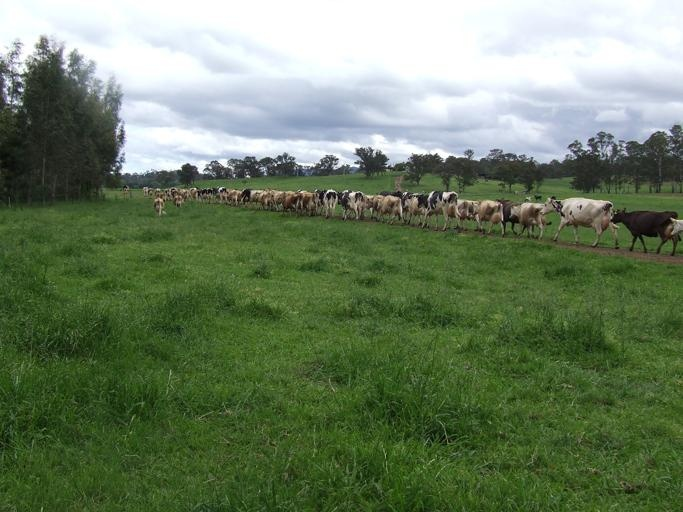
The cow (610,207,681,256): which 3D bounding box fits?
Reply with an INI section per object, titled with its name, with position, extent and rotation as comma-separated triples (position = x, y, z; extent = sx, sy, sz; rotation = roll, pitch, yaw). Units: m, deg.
[cow]
position = 12.564, -1.003, 21.571
extent = 1.634, 1.777, 3.783
rotation = 0, 11, 6
